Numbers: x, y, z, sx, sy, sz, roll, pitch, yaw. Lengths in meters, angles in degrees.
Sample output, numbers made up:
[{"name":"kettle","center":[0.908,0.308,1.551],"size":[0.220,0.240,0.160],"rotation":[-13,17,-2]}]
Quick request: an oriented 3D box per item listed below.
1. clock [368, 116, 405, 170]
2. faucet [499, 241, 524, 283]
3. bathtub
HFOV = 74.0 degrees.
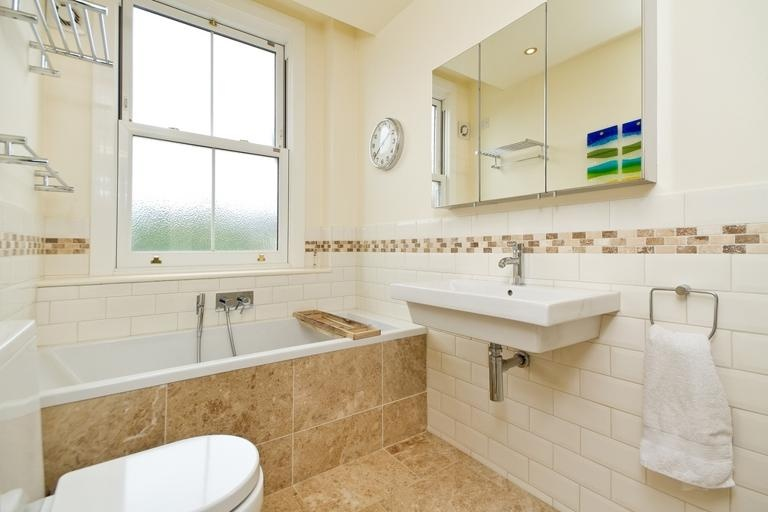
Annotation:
[{"name":"clock","center":[0.002,-0.876,3.945],"size":[0.051,0.385,0.381],"rotation":[3,5,-38]},{"name":"faucet","center":[0.742,0.042,3.009],"size":[0.183,0.259,0.089],"rotation":[-2,1,-33]},{"name":"bathtub","center":[-1.187,0.630,3.410],"size":[1.674,0.331,0.817],"rotation":[2,1,-36]}]
